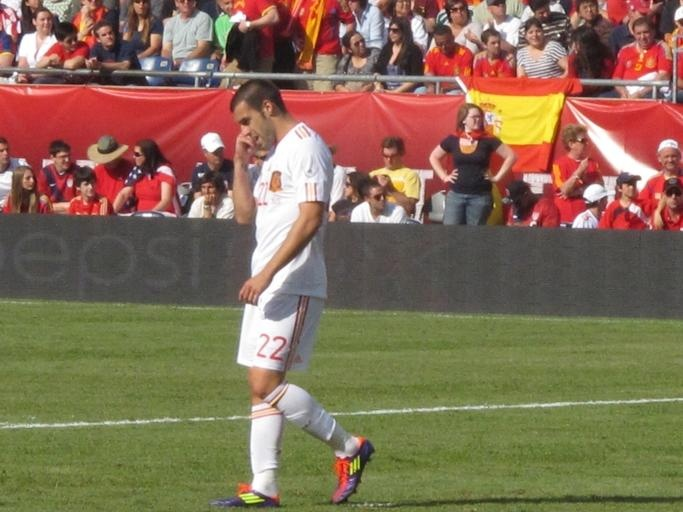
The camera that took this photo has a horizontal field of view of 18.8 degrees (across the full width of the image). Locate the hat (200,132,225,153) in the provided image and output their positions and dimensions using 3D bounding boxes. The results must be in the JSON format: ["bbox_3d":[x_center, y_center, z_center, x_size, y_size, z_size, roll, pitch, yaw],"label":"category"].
[{"bbox_3d":[-1.783,-1.558,27.844,0.225,0.180,0.317,-11,8,-13],"label":"hat"}]

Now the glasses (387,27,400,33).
[{"bbox_3d":[0.710,-3.181,28.717,0.166,0.052,0.174,4,4,38],"label":"glasses"}]

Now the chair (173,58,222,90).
[{"bbox_3d":[-2.107,-2.673,29.416,0.553,0.522,0.487,0,-11,9],"label":"chair"}]

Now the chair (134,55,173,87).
[{"bbox_3d":[-2.732,-2.719,29.761,0.368,0.511,0.488,3,-33,-2],"label":"chair"}]

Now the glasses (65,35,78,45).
[{"bbox_3d":[-3.936,-3.131,29.756,0.126,0.126,0.160,-26,5,-18],"label":"glasses"}]

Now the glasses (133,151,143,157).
[{"bbox_3d":[-2.801,-1.431,28.084,0.081,0.107,0.317,1,4,-16],"label":"glasses"}]
